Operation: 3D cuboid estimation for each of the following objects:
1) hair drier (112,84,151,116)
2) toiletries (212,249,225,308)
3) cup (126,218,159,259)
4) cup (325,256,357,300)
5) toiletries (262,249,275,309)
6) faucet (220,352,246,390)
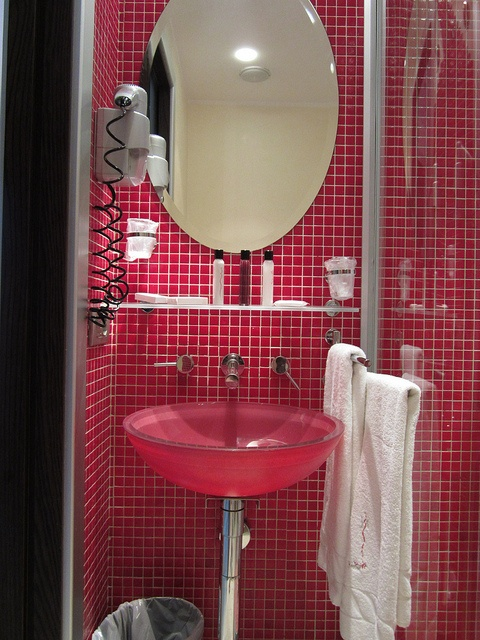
[{"bbox_3d":[-0.289,-0.574,1.643,0.059,0.085,0.092,10,-1,21],"label":"hair drier"},{"bbox_3d":[-0.065,-0.131,1.897,0.038,0.178,0.109,2,-17,-2],"label":"toiletries"},{"bbox_3d":[-0.286,-0.236,1.776,0.098,0.144,0.088,2,-2,-28],"label":"cup"},{"bbox_3d":[0.305,-0.122,1.861,0.092,0.150,0.103,-1,1,0],"label":"cup"},{"bbox_3d":[0.087,-0.131,1.897,0.029,0.175,0.033,0,1,11],"label":"toiletries"},{"bbox_3d":[-0.020,0.153,1.937,0.060,0.117,0.086,1,-5,0],"label":"faucet"}]
